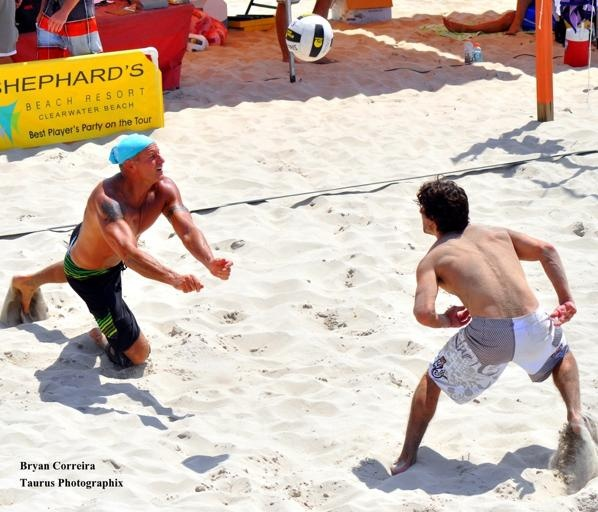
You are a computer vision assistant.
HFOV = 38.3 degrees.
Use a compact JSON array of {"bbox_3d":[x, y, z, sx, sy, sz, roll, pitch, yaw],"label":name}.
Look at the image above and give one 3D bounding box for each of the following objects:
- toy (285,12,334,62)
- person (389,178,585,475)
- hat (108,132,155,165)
[{"bbox_3d":[0.121,-2.333,9.149,0.558,0.469,0.446,-1,23,-14],"label":"toy"},{"bbox_3d":[1.041,0.409,4.630,1.003,1.557,0.594,7,17,1],"label":"person"},{"bbox_3d":[-1.027,-0.639,5.220,0.191,0.204,0.278,-6,19,-35],"label":"hat"}]
